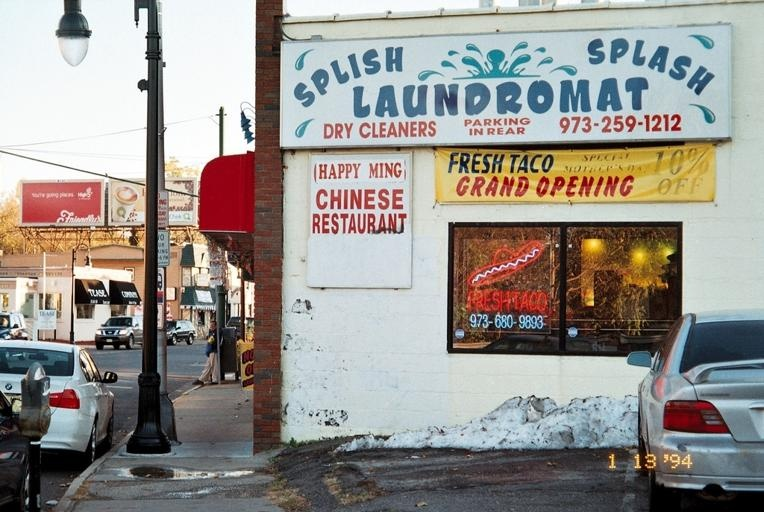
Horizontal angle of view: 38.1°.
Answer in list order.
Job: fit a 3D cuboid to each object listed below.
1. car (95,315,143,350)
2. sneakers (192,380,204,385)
[{"bbox_3d":[-12.154,3.463,51.913,1.242,0.997,2.284,-2,-8,5],"label":"car"},{"bbox_3d":[-4.875,3.357,29.552,0.387,0.164,0.142,1,-3,36],"label":"sneakers"}]
